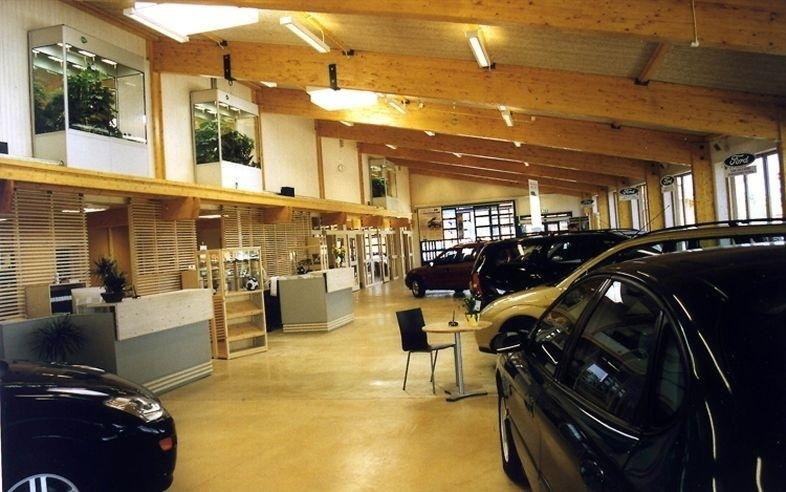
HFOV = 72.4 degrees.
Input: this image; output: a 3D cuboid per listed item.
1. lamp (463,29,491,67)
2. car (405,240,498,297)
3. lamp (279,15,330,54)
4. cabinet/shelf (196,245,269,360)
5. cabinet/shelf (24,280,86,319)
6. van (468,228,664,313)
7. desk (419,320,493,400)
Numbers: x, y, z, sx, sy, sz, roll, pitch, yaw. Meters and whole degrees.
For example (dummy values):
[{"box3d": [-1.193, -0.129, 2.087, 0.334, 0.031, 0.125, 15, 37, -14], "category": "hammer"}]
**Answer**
[{"box3d": [1.583, -3.533, 9.776, 0.280, 0.243, 0.969, -8, -33, 22], "category": "lamp"}, {"box3d": [1.866, 0.760, 17.754, 2.918, 1.254, 1.418, 2, 1, 40], "category": "car"}, {"box3d": [-1.636, -3.969, 9.991, 0.405, 0.438, 1.221, -3, 7, 14], "category": "lamp"}, {"box3d": [-3.198, 1.106, 11.052, 1.258, 2.198, 0.567, -11, 10, -37], "category": "cabinet/shelf"}, {"box3d": [-6.715, 1.072, 10.394, 0.595, 0.608, 0.975, -3, 1, -10], "category": "cabinet/shelf"}, {"box3d": [2.672, 0.228, 9.073, 3.060, 1.055, 1.363, -14, -3, 2], "category": "van"}, {"box3d": [1.020, 1.599, 8.202, 1.112, 1.052, 1.079, -4, 5, -32], "category": "desk"}]
